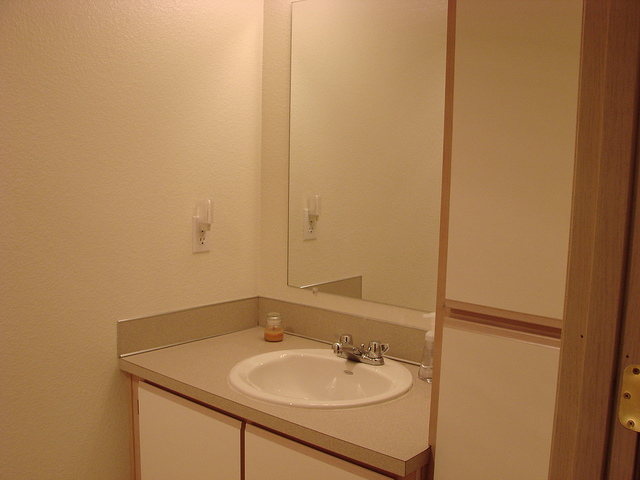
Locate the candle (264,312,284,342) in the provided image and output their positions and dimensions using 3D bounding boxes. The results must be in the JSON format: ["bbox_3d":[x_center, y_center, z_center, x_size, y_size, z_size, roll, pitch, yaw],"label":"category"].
[{"bbox_3d":[-0.190,0.350,2.034,0.084,0.096,0.083,1,-1,-32],"label":"candle"}]
